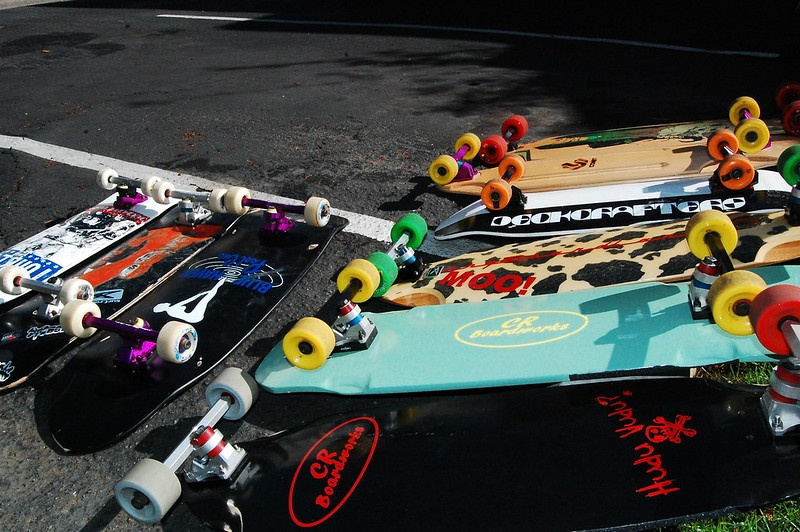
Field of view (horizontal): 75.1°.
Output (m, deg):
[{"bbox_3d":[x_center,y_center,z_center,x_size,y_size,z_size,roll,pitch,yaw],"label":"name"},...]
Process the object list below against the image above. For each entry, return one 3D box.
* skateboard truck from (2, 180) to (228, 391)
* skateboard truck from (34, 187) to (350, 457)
[{"bbox_3d":[-2.278,0.000,5.021,0.916,0.414,3.001,27,49,29],"label":"skateboard truck"},{"bbox_3d":[-1.411,0.327,4.262,0.894,0.291,2.886,27,49,25],"label":"skateboard truck"}]
